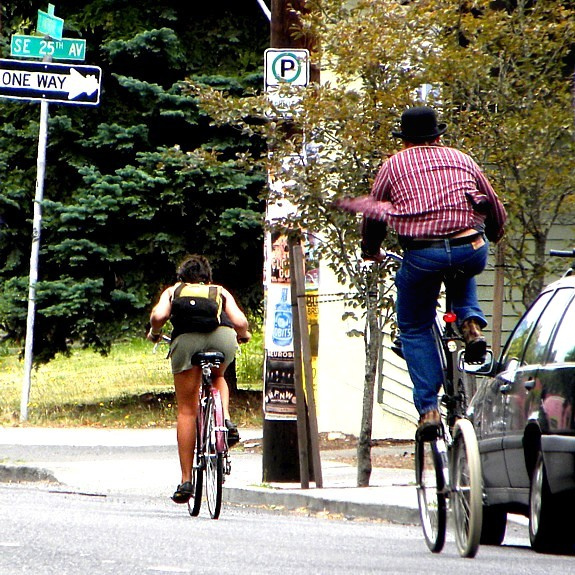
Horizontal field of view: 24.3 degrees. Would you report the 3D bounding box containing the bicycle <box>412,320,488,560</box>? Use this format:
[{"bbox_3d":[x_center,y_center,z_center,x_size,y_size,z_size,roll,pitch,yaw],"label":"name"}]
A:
[{"bbox_3d":[0.903,0.883,7.508,0.408,1.433,1.363,1,4,8],"label":"bicycle"}]

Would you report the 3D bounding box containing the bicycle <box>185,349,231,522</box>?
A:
[{"bbox_3d":[-0.551,1.063,9.380,0.292,1.225,0.879,0,4,-4],"label":"bicycle"}]

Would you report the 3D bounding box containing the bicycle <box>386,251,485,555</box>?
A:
[{"bbox_3d":[0.890,0.698,7.271,0.324,1.594,0.966,0,4,-12],"label":"bicycle"}]

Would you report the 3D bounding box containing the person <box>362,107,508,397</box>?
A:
[{"bbox_3d":[0.793,-0.206,7.379,0.787,1.592,0.506,1,4,9],"label":"person"}]

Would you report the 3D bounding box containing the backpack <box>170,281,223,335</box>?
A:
[{"bbox_3d":[-0.628,0.123,9.566,0.283,0.382,0.409,3,-22,-1],"label":"backpack"}]

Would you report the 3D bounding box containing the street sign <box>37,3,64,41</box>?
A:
[{"bbox_3d":[-2.970,-3.372,16.903,0.291,0.474,0.474,1,4,9],"label":"street sign"}]

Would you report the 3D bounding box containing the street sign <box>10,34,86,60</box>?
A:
[{"bbox_3d":[-3.056,-3.096,17.202,1.089,0.315,0.330,2,4,21],"label":"street sign"}]
